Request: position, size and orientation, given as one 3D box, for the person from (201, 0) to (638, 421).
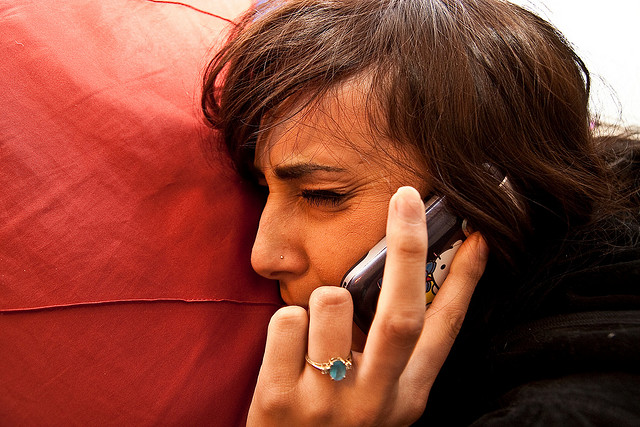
[{"bbox_3d":[0.280,-0.040,1.780,1.080,1.275,0.951,-3,5,3],"label":"person"}]
